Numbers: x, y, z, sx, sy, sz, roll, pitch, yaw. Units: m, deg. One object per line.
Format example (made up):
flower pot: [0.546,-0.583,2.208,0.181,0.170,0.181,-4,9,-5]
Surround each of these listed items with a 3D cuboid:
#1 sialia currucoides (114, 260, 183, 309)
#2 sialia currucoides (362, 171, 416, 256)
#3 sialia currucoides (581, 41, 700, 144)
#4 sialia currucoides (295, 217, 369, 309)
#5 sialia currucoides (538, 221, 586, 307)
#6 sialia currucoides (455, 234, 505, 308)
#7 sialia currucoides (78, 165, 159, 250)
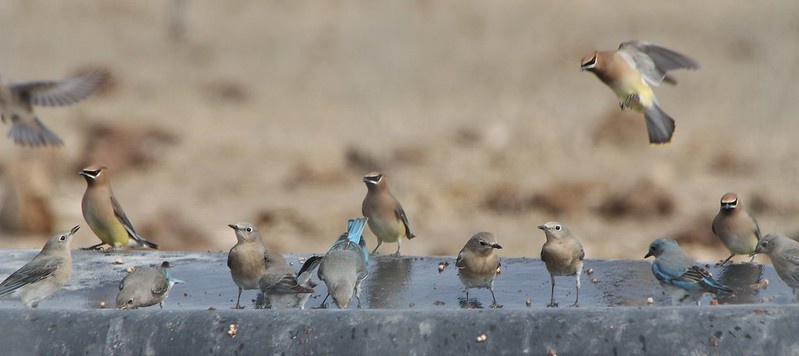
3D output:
sialia currucoides: [-3.334,1.454,14.577,0.387,0.804,0.466,22,-30,23]
sialia currucoides: [-0.203,0.516,15.732,0.680,1.190,0.475,3,-9,-5]
sialia currucoides: [3.260,-1.168,14.995,1.440,1.320,0.631,1,-9,7]
sialia currucoides: [-0.754,1.101,14.730,0.810,1.067,0.461,8,-5,1]
sialia currucoides: [2.123,1.143,14.689,0.578,1.139,0.542,1,-9,8]
sialia currucoides: [1.023,1.214,14.646,0.559,1.006,0.465,2,-9,3]
sialia currucoides: [-4.144,0.420,15.911,0.895,1.145,0.328,5,-9,-18]
